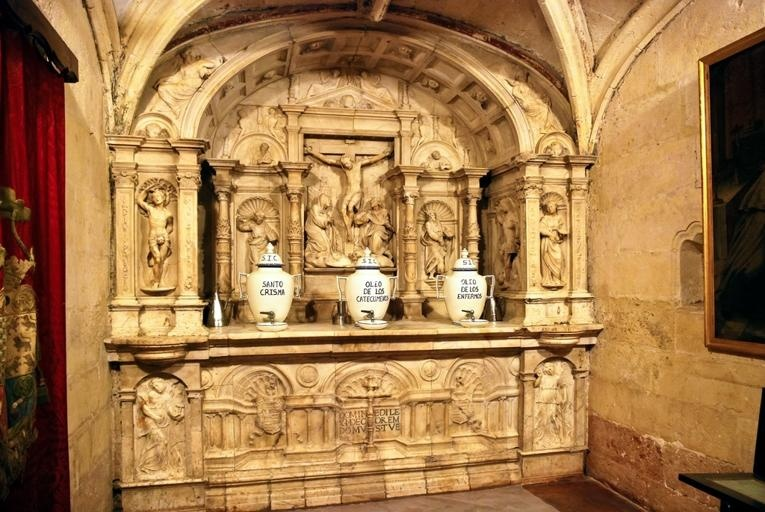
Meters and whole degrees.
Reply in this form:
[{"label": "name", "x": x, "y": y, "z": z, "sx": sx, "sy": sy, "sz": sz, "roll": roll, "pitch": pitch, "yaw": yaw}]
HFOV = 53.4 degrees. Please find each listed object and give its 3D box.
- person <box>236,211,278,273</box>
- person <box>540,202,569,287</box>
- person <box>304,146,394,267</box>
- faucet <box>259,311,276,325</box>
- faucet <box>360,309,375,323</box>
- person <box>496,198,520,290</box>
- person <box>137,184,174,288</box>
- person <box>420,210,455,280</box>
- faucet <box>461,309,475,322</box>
[{"label": "person", "x": -1.594, "y": -0.181, "z": 9.672, "sx": 0.511, "sy": 0.742, "sz": 0.139, "roll": 1, "pitch": -4, "yaw": -10}, {"label": "person", "x": 2.081, "y": -0.180, "z": 9.260, "sx": 0.375, "sy": 1.087, "sz": 0.120, "roll": 2, "pitch": -4, "yaw": -15}, {"label": "person", "x": -0.482, "y": -0.620, "z": 9.949, "sx": 1.515, "sy": 1.627, "sz": 0.392, "roll": 0, "pitch": -4, "yaw": -13}, {"label": "faucet", "x": -1.309, "y": 0.694, "z": 8.644, "sx": 0.162, "sy": 0.136, "sz": 0.078, "roll": 1, "pitch": -4, "yaw": -6}, {"label": "faucet", "x": -0.167, "y": 0.705, "z": 8.882, "sx": 0.145, "sy": 0.125, "sz": 0.105, "roll": 1, "pitch": 0, "yaw": 36}, {"label": "person", "x": 1.588, "y": -0.163, "z": 9.703, "sx": 0.128, "sy": 1.154, "sz": 0.548, "roll": 1, "pitch": -4, "yaw": -10}, {"label": "person", "x": -2.561, "y": -0.230, "z": 8.535, "sx": 0.393, "sy": 1.126, "sz": 0.136, "roll": 1, "pitch": -4, "yaw": -2}, {"label": "person", "x": 0.744, "y": -0.168, "z": 10.170, "sx": 0.479, "sy": 0.938, "sz": 0.153, "roll": 3, "pitch": -5, "yaw": -25}, {"label": "faucet", "x": 1.039, "y": 0.711, "z": 9.208, "sx": 0.148, "sy": 0.133, "sz": 0.058, "roll": 1, "pitch": 0, "yaw": -5}]
